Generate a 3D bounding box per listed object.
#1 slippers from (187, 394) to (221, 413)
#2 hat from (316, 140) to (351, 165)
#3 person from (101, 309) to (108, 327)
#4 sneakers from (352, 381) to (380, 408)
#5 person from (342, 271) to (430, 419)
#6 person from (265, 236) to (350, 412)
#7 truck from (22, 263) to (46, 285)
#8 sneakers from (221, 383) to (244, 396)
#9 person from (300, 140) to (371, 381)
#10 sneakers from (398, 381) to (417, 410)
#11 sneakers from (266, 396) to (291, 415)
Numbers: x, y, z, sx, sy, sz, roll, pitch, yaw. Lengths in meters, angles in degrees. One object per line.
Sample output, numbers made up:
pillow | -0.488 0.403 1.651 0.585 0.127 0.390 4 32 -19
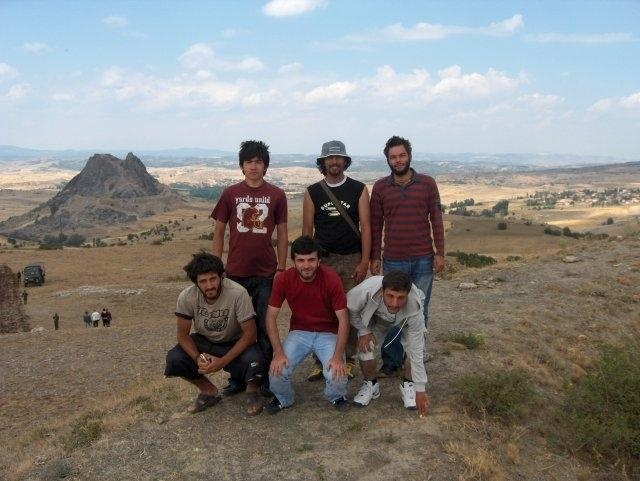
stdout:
slippers | -1.694 2.387 6.176 0.172 0.180 0.435 -8 -7 42
hat | 0.205 -1.420 6.910 0.565 0.383 0.429 -3 3 5
person | -8.971 3.238 17.597 0.322 0.603 0.986 -5 4 -28
sneakers | 0.685 2.283 6.304 0.217 0.248 0.488 -3 5 39
person | 1.013 1.434 6.266 1.095 2.057 0.950 -2 4 18
person | -0.178 1.197 6.120 1.204 2.524 0.615 -3 4 3
truck | -20.380 2.440 30.078 1.228 1.224 2.129 -2 1 -28
sneakers | -1.341 2.331 6.599 0.402 0.170 0.134 11 -2 -33
person | 0.295 0.328 7.161 1.246 3.984 1.084 -1 3 11
sneakers | 1.301 2.255 6.165 0.196 0.348 0.251 -3 4 1
sneakers | -0.624 2.415 6.083 0.415 0.180 0.139 17 -14 -41
